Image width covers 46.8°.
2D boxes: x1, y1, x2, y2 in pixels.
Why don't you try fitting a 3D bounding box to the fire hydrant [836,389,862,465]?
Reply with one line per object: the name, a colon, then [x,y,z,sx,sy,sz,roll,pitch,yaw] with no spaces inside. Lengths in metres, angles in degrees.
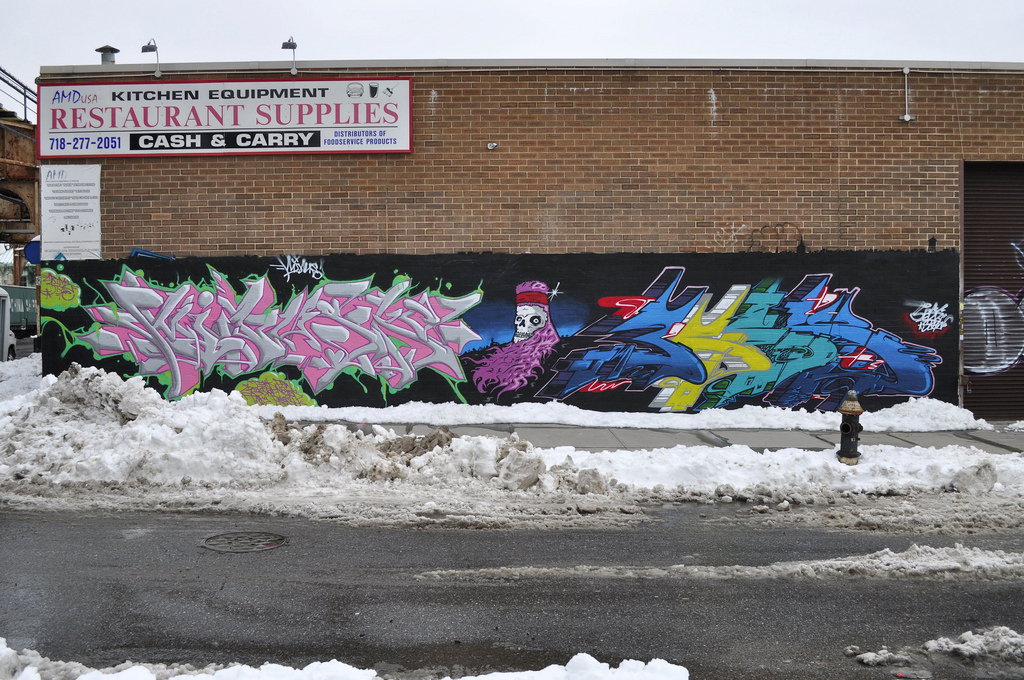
fire hydrant: [5.733,1.479,20.112,0.378,1.180,0.989,1,2,15]
